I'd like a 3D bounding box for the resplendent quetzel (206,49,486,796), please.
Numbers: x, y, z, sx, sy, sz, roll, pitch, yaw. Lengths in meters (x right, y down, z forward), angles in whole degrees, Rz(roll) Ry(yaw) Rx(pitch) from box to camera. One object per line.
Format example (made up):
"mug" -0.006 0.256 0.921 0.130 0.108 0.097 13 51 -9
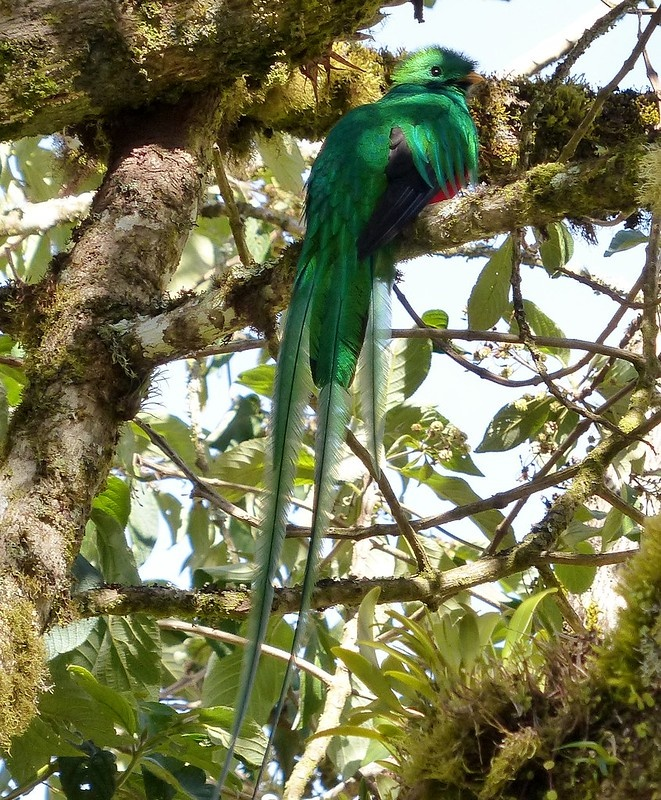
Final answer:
"resplendent quetzel" 0.056 -0.105 3.713 0.462 2.574 0.379 17 -41 -5
